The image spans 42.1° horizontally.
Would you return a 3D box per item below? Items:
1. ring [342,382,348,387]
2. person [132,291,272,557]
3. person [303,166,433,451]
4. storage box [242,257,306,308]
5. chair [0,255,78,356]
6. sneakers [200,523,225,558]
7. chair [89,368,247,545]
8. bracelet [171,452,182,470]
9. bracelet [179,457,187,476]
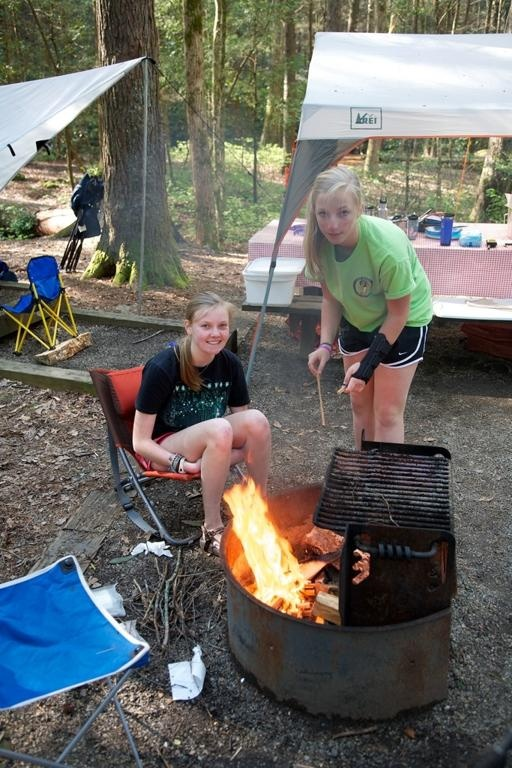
[{"bbox_3d":[0.396,0.000,2.954,0.031,0.010,0.030,-4,26,2],"label":"ring"},{"bbox_3d":[-0.234,0.187,2.846,0.582,1.151,0.411,-7,23,-18],"label":"person"},{"bbox_3d":[0.459,-0.234,2.870,0.558,1.337,0.631,6,22,13],"label":"person"},{"bbox_3d":[0.068,-0.791,5.553,0.558,0.295,0.724,-3,7,-2],"label":"storage box"},{"bbox_3d":[-1.813,-0.698,5.532,0.577,0.778,1.077,-6,22,-15],"label":"chair"},{"bbox_3d":[-0.198,0.681,2.922,0.098,0.099,0.251,0,-1,-20],"label":"sneakers"},{"bbox_3d":[-0.350,0.285,3.050,0.623,0.704,0.750,-15,18,-28],"label":"chair"},{"bbox_3d":[-0.326,0.315,2.697,0.029,0.061,0.033,2,1,-21],"label":"bracelet"},{"bbox_3d":[-0.304,0.334,2.714,0.042,0.063,0.064,1,-4,8],"label":"bracelet"}]
